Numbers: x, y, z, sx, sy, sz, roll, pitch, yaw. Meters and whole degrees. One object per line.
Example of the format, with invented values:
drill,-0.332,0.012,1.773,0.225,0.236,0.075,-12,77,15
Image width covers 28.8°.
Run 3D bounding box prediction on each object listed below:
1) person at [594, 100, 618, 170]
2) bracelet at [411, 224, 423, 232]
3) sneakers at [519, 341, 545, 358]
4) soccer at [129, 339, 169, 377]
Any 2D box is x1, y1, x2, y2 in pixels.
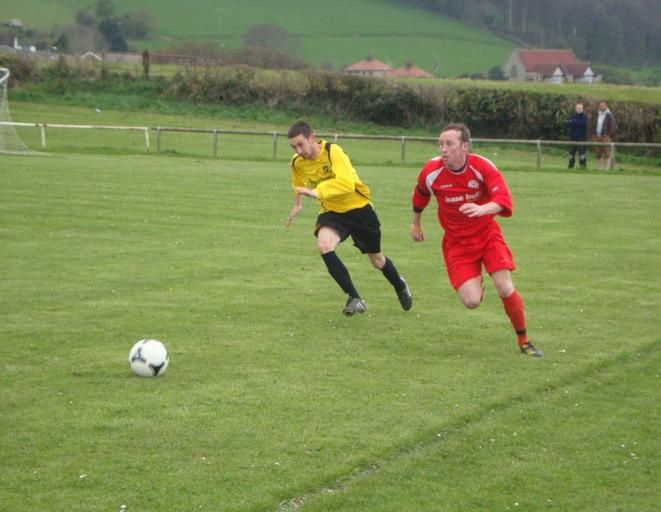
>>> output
person,9.918,-4.313,46.430,0.606,2.434,1.488,0,10,11
bracelet,2.131,-0.675,31.615,0.206,0.146,0.209,4,8,22
sneakers,4.814,2.299,30.909,0.649,0.275,0.259,5,14,35
soccer,-4.307,2.365,30.491,0.926,0.841,0.879,9,11,-17
